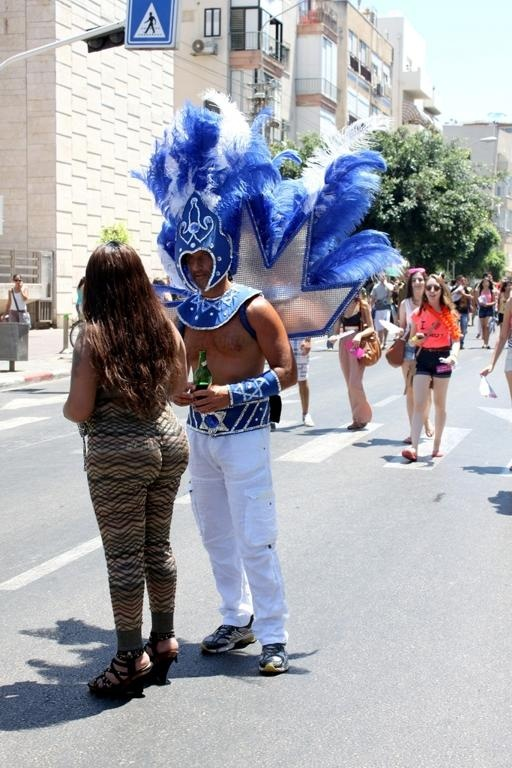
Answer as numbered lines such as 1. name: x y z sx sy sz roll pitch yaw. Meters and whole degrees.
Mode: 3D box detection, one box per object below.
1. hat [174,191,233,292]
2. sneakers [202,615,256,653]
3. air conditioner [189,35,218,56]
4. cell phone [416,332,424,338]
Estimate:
1. hat: -0.202 -0.591 2.843 0.240 0.422 0.211 3 17 12
2. sneakers: -0.120 1.089 3.031 0.260 0.120 0.094 1 -7 -43
3. air conditioner: -3.341 -21.995 45.101 1.648 0.893 1.123 2 -19 6
4. cell phone: 1.797 -0.542 7.637 0.047 0.062 0.057 6 9 18
